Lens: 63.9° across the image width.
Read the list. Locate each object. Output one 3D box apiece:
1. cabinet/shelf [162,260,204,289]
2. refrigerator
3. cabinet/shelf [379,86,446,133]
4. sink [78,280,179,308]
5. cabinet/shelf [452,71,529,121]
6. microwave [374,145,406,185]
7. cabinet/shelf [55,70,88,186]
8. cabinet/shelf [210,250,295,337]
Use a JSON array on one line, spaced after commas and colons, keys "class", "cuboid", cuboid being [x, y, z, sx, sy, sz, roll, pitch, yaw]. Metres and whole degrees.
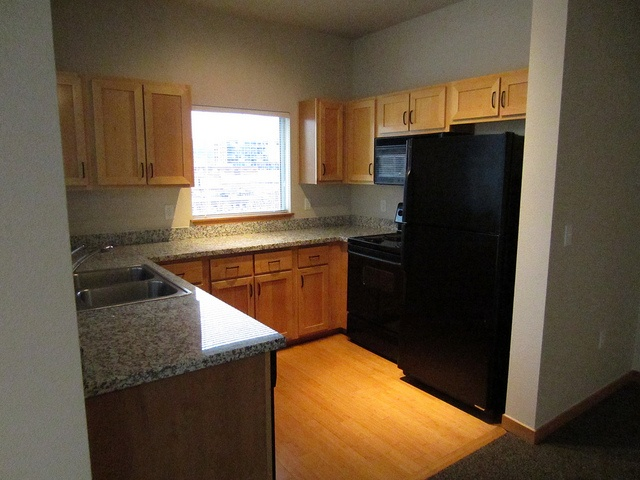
[{"class": "cabinet/shelf", "cuboid": [-1.010, 0.206, 3.782, 0.251, 0.244, 0.174, -4, 7, -39]}, {"class": "refrigerator", "cuboid": [0.898, 0.207, 3.435, 0.792, 1.798, 0.296, 10, 15, 42]}, {"class": "cabinet/shelf", "cuboid": [0.767, -1.036, 4.244, 0.644, 0.326, 0.146, 4, 5, 43]}, {"class": "sink", "cuboid": [-1.121, 0.314, 2.923, 0.306, 0.123, 0.244, -2, 7, -36]}, {"class": "cabinet/shelf", "cuboid": [1.313, -0.992, 3.667, 0.760, 0.311, 0.218, 3, 5, 35]}, {"class": "microwave", "cuboid": [0.603, -0.631, 4.333, 0.223, 0.383, 0.386, -3, 7, -31]}, {"class": "cabinet/shelf", "cuboid": [-1.645, -0.723, 3.435, 0.167, 0.748, 0.074, -9, 15, -39]}, {"class": "cabinet/shelf", "cuboid": [-0.567, 0.479, 4.239, 0.735, 0.774, 0.351, -4, 7, -20]}]
